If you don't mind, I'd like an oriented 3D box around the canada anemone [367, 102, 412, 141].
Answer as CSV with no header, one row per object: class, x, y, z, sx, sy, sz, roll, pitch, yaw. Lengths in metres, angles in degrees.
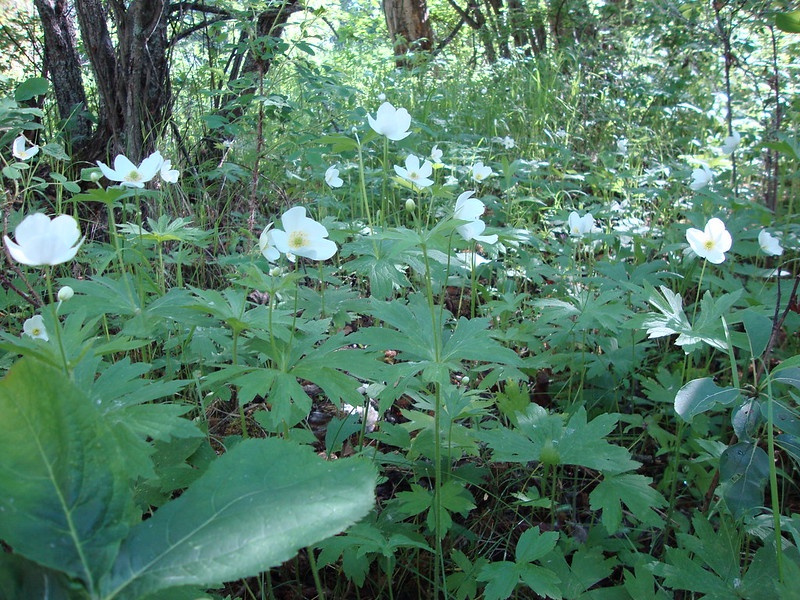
canada anemone,-0.060,-0.949,3.269,0.213,0.221,0.098,1,-11,-26
